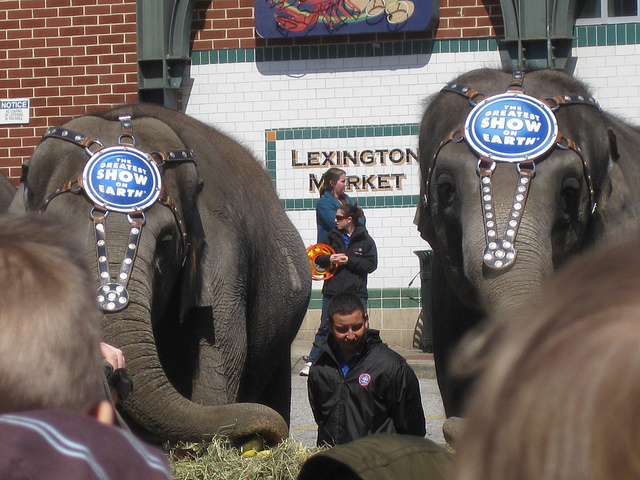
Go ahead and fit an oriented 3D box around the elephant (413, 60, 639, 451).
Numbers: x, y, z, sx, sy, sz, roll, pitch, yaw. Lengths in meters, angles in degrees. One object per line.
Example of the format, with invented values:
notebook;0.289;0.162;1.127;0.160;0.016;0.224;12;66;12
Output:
elephant;1.070;0.081;5.910;1.178;1.933;1.247;1;7;5

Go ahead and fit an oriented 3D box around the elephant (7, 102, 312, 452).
elephant;-0.628;0.216;6.018;1.652;1.815;1.398;-3;9;-29

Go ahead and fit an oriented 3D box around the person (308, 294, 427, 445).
person;0.232;0.723;6.186;0.446;0.777;0.640;-6;10;-43
